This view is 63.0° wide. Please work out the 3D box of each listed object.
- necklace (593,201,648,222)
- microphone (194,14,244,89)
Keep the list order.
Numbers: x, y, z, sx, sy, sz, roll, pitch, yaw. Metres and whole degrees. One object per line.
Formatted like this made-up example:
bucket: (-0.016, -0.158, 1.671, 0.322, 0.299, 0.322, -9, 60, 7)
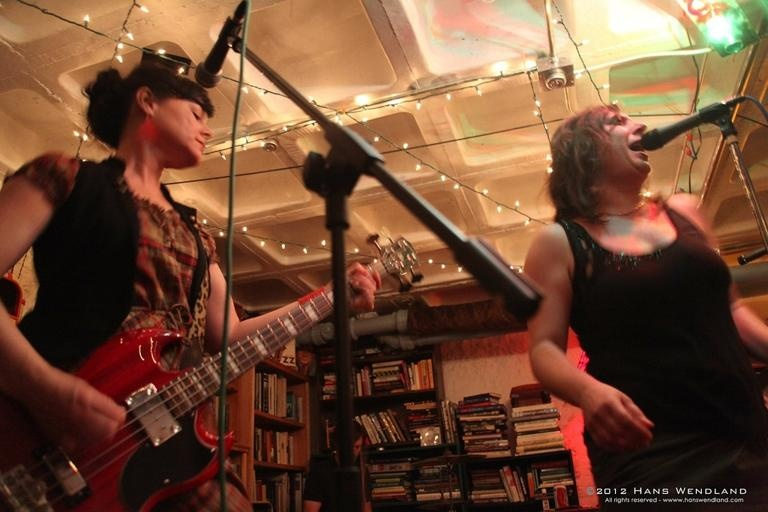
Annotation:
necklace: (0.757, -0.136, 1.987, 0.095, 0.023, 0.075, -16, 11, 25)
microphone: (-0.517, -0.631, 2.020, 0.101, 0.100, 0.338, 30, -41, -10)
